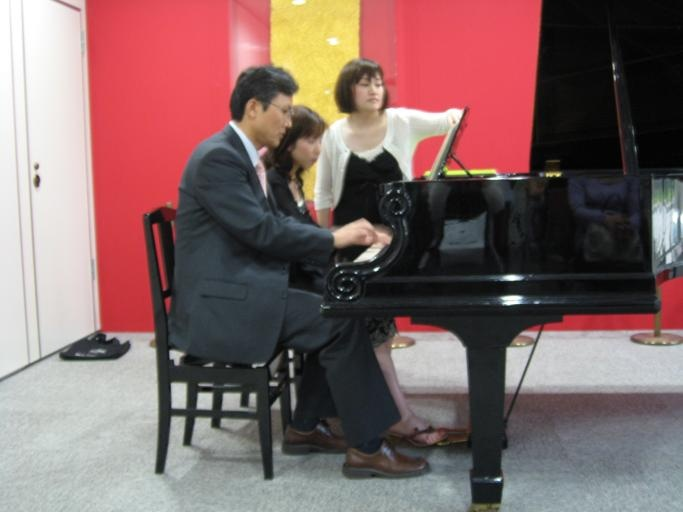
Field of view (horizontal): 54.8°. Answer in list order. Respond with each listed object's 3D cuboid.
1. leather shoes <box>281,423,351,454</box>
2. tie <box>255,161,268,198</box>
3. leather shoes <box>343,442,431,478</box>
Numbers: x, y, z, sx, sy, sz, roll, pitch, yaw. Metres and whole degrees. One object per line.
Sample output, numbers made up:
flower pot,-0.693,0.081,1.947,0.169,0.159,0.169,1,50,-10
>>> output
leather shoes,-0.124,0.870,3.199,0.323,0.149,0.129,-1,-3,-3
tie,-0.360,-0.358,3.017,0.033,0.143,0.085,0,5,-1
leather shoes,0.202,0.912,2.985,0.378,0.175,0.149,-2,-1,-2
